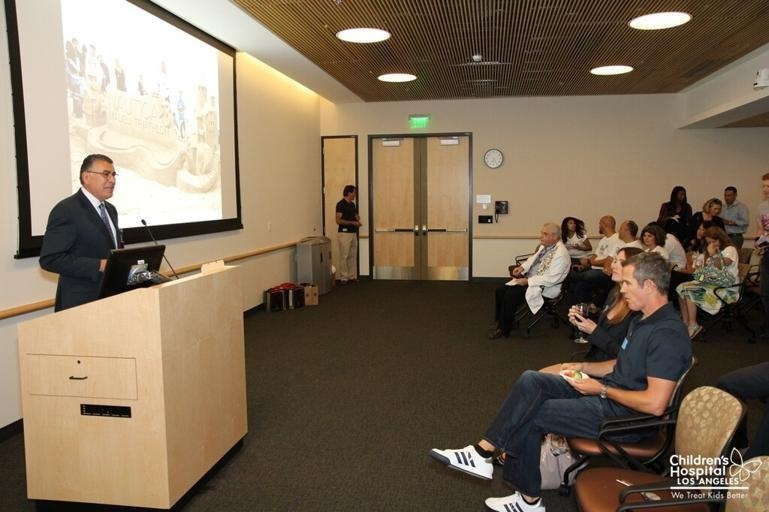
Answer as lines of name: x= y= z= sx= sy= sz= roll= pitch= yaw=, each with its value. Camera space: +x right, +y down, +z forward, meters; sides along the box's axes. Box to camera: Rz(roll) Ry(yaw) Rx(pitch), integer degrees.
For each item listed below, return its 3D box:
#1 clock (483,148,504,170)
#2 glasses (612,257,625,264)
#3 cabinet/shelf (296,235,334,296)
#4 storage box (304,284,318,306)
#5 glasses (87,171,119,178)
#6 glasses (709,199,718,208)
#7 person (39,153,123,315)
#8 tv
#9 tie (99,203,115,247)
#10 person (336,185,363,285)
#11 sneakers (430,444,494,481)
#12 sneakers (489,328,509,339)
clock: x=2.532 y=-2.265 z=11.980 sx=0.461 sy=0.463 sz=0.092 roll=-1 pitch=10 yaw=0
glasses: x=2.479 y=0.048 z=5.502 sx=0.088 sy=0.069 sz=0.104 roll=-27 pitch=2 yaw=14
cabinet/shelf: x=-1.460 y=0.223 z=10.766 sx=0.502 sy=1.347 sz=1.228 roll=-1 pitch=1 yaw=17
storage box: x=-1.358 y=0.728 z=10.079 sx=0.299 sy=0.428 sz=0.416 roll=0 pitch=3 yaw=2
glasses: x=-2.508 y=-0.729 z=4.616 sx=0.155 sy=0.047 sz=0.151 roll=0 pitch=1 yaw=22
glasses: x=5.875 y=-0.938 z=9.271 sx=0.114 sy=0.145 sz=0.152 roll=7 pitch=40 yaw=8
person: x=-2.633 y=-0.210 z=4.561 sx=0.664 sy=1.342 sz=0.513 roll=-10 pitch=14 yaw=-42
tv: x=-2.002 y=0.141 z=4.103 sx=0.076 sy=0.336 sz=0.461 roll=21 pitch=13 yaw=22
tie: x=-2.535 y=-0.321 z=4.766 sx=0.075 sy=0.559 sz=0.065 roll=-8 pitch=-35 yaw=-20
person: x=-0.857 y=-0.502 z=12.036 sx=0.537 sy=2.262 sz=0.546 roll=-2 pitch=10 yaw=-5
sneakers: x=0.663 y=1.614 z=4.176 sx=0.570 sy=0.250 sz=0.212 roll=14 pitch=-18 yaw=12
sneakers: x=1.732 y=1.179 z=7.875 sx=0.353 sy=0.144 sz=0.120 roll=6 pitch=-5 yaw=-29
